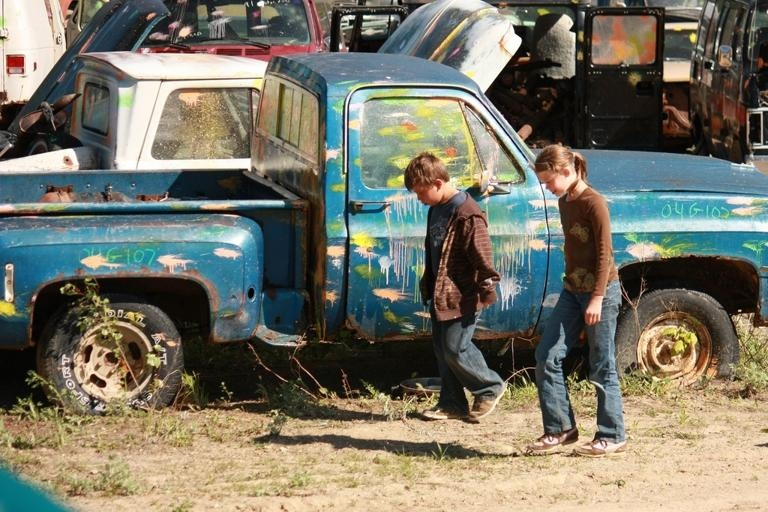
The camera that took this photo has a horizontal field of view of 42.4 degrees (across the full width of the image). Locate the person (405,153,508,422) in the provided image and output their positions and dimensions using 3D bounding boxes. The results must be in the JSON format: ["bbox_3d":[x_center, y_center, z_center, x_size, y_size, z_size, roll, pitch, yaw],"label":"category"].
[{"bbox_3d":[0.556,0.280,7.675,0.728,2.150,0.661,0,4,7],"label":"person"}]

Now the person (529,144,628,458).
[{"bbox_3d":[1.414,0.348,7.239,0.710,2.313,0.358,0,4,11],"label":"person"}]
